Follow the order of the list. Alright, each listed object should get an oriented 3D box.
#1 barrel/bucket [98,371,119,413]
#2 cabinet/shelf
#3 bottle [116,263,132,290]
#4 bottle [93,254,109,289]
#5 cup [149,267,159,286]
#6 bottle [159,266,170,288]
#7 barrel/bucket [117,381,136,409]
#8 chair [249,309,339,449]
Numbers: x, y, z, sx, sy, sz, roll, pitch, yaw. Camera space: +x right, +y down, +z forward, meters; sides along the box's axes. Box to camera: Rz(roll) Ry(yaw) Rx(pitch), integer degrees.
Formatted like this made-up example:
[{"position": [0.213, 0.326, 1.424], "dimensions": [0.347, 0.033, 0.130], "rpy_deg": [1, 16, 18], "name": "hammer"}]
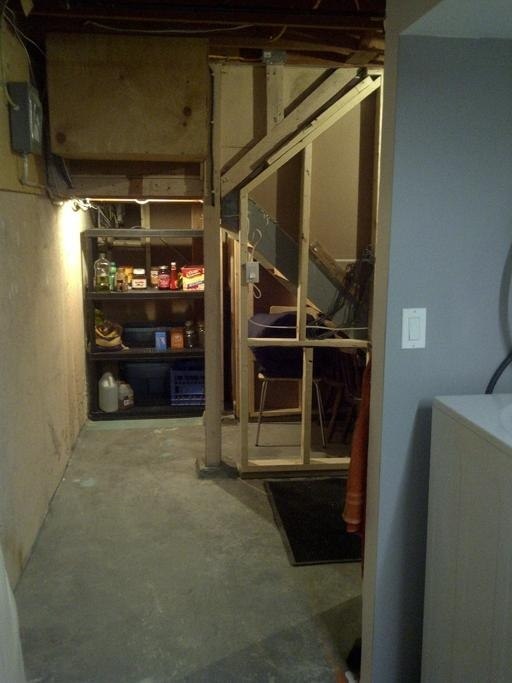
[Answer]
[{"position": [-1.109, 0.379, 4.671], "dimensions": [0.156, 0.301, 0.168], "rpy_deg": [1, 10, 0], "name": "barrel/bucket"}, {"position": [-0.837, -0.147, 4.762], "dimensions": [0.856, 1.372, 0.698], "rpy_deg": [0, 10, -5], "name": "cabinet/shelf"}, {"position": [-0.983, -0.453, 4.649], "dimensions": [0.122, 0.154, 0.284], "rpy_deg": [-1, 10, -11], "name": "bottle"}, {"position": [-1.144, -0.506, 4.613], "dimensions": [0.113, 0.253, 0.139], "rpy_deg": [-2, 10, -12], "name": "bottle"}, {"position": [-0.783, -0.481, 4.794], "dimensions": [0.068, 0.145, 0.081], "rpy_deg": [-1, 10, -10], "name": "cup"}, {"position": [-0.716, -0.487, 4.811], "dimensions": [0.087, 0.165, 0.306], "rpy_deg": [-1, 10, -9], "name": "bottle"}, {"position": [-0.999, 0.405, 4.834], "dimensions": [0.106, 0.194, 0.236], "rpy_deg": [2, 10, 7], "name": "barrel/bucket"}, {"position": [0.243, 0.238, 4.055], "dimensions": [0.541, 0.895, 1.059], "rpy_deg": [2, 10, 5], "name": "chair"}]
